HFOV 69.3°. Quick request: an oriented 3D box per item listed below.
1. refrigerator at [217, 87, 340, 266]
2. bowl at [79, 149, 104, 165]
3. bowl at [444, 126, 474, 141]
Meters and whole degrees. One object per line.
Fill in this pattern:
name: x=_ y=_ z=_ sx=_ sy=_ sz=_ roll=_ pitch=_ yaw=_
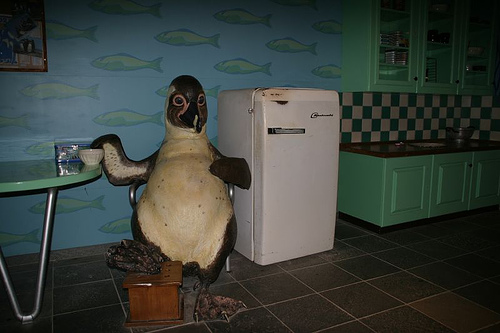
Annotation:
refrigerator: x=0.210 y=0.064 z=3.544 sx=1.004 sy=1.551 sz=1.011 roll=-4 pitch=10 yaw=-21
bowl: x=-1.196 y=-0.082 z=2.714 sx=0.134 sy=0.072 sz=0.128 roll=1 pitch=5 yaw=0
bowl: x=2.634 y=-0.427 z=4.576 sx=0.250 sy=0.133 sz=0.224 roll=-2 pitch=13 yaw=-16
